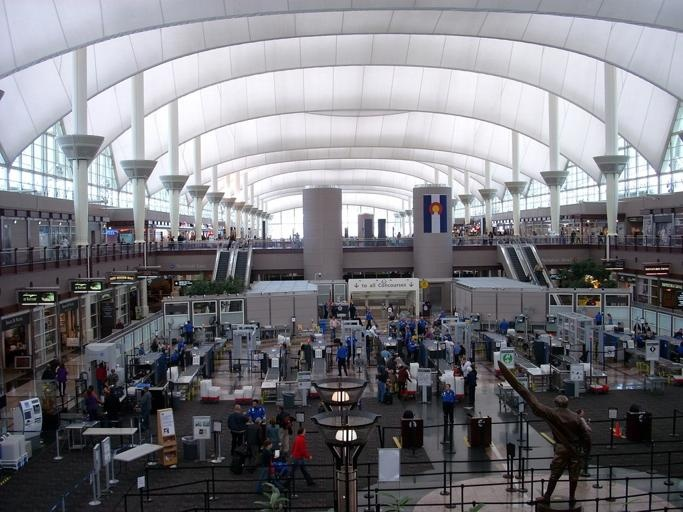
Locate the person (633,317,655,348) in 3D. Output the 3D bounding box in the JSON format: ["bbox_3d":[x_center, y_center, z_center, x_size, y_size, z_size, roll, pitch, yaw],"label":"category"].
[{"bbox_3d":[15.306,3.894,30.075,0.794,1.726,0.857,0,-3,-15],"label":"person"}]

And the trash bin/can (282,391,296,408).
[{"bbox_3d":[-1.979,5.443,22.594,0.563,0.633,0.487,0,-6,-3],"label":"trash bin/can"}]

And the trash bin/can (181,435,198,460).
[{"bbox_3d":[-4.674,5.968,18.516,0.522,0.701,0.572,1,-4,-7],"label":"trash bin/can"}]
